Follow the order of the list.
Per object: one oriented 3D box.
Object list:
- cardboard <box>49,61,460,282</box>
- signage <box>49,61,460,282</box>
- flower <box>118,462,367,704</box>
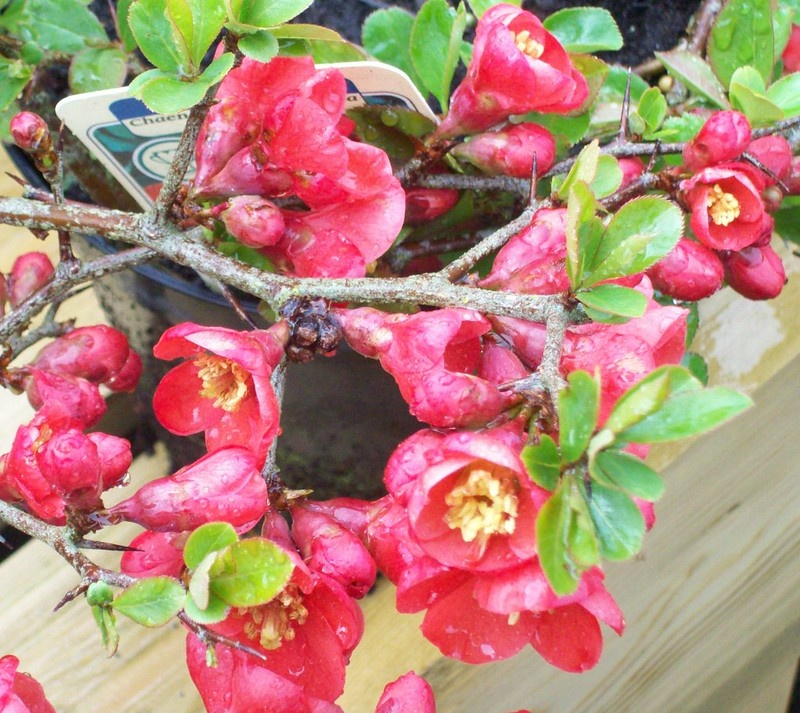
[{"bbox_3d":[-0.150,-0.165,0.730,0.244,0.039,0.186,-15,43,-31],"label":"cardboard"},{"bbox_3d":[-0.144,-0.149,0.757,0.234,0.222,0.014,4,67,0],"label":"signage"},{"bbox_3d":[-0.110,0.140,0.624,0.143,0.067,0.174,-35,107,-7],"label":"flower"}]
